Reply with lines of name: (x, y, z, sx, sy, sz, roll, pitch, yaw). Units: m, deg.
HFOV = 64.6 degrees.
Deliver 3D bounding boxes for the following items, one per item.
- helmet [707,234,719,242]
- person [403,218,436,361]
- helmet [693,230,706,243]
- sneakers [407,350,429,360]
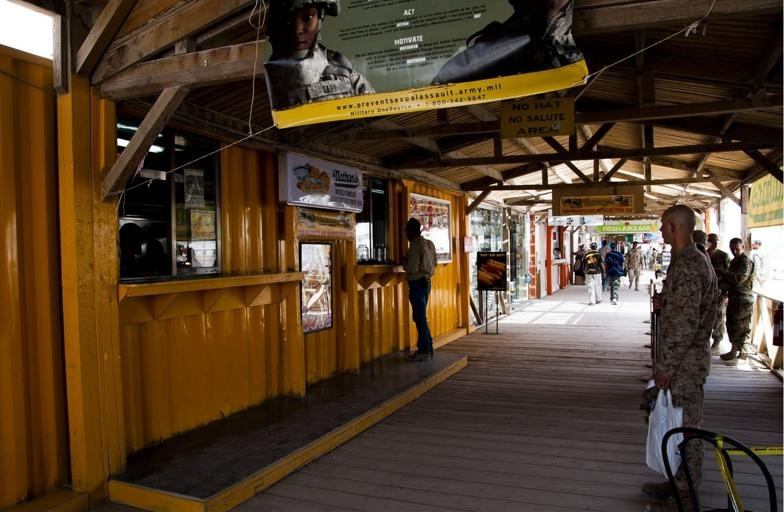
helmet: (5.442, -0.304, 10.517, 0.178, 0.177, 0.148, 0, 1, 37)
person: (0.444, 0.529, 10.075, 0.526, 2.226, 0.435, 6, 12, 24)
helmet: (4.369, -0.267, 8.803, 0.174, 0.208, 0.239, 11, 18, 28)
sneakers: (0.427, 1.628, 10.093, 0.317, 0.139, 0.136, 2, -3, 13)
